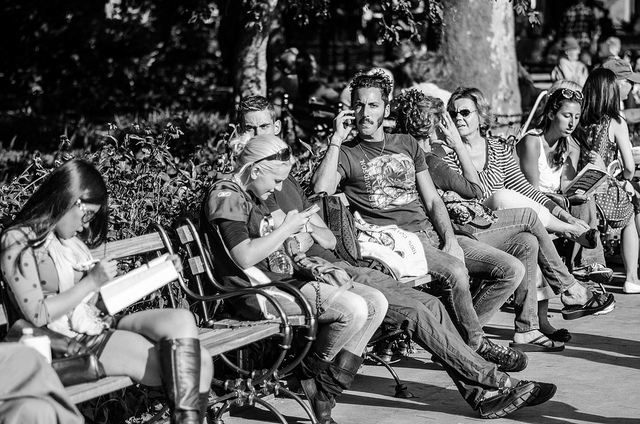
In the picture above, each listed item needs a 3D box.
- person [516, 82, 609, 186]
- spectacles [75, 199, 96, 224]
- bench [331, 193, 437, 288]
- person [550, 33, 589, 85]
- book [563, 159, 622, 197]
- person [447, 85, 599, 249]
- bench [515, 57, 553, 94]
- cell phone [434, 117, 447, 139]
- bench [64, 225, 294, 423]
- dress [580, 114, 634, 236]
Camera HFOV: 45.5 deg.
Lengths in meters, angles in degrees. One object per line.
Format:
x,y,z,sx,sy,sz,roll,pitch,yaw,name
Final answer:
2.435,-0.647,7.808,0.878,1.186,0.768,5,21,15,person
-1.478,0.007,4.800,0.120,0.041,0.119,45,8,39,spectacles
0.548,0.220,6.372,0.850,0.725,0.662,1,5,7,bench
4.738,-2.891,14.454,0.598,1.052,2.378,2,5,19,person
2.875,-0.388,7.975,0.385,0.197,0.541,-17,8,-13,book
1.810,-0.372,7.087,0.745,1.266,1.734,-18,28,-33,person
5.424,-3.440,19.339,0.678,0.867,3.851,-17,3,23,bench
1.126,-0.800,7.140,0.116,0.172,0.062,-8,31,50,cell phone
-0.964,0.754,5.157,0.585,0.923,1.346,0,4,29,bench
3.059,-0.384,8.185,0.435,1.321,1.010,1,2,8,dress
